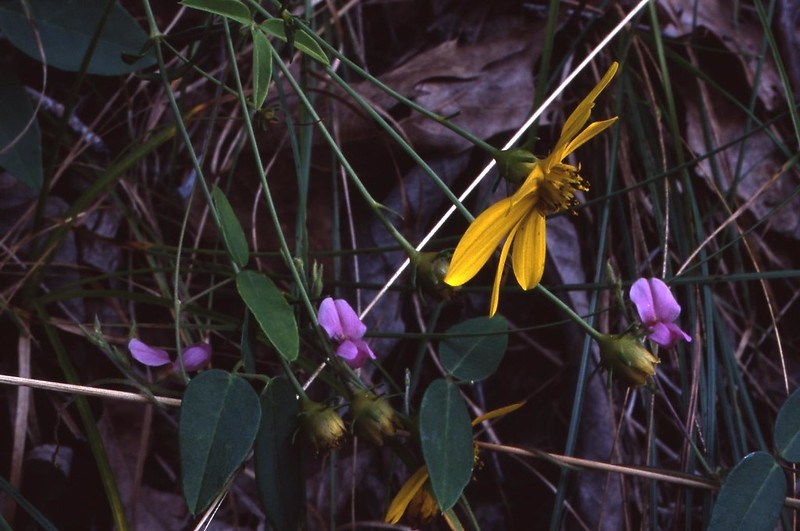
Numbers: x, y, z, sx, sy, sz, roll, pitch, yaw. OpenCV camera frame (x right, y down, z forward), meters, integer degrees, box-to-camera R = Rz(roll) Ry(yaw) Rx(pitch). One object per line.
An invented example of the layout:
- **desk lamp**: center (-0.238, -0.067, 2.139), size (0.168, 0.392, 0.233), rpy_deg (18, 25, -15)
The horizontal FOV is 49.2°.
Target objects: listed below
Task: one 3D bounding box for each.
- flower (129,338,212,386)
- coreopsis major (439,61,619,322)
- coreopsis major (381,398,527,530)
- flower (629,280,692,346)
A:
- **flower**: center (-0.635, 0.253, 2.415), size (0.140, 0.077, 0.138), rpy_deg (-1, 3, 26)
- **coreopsis major**: center (0.389, -0.218, 2.330), size (0.327, 0.657, 0.515), rpy_deg (12, 11, 31)
- **coreopsis major**: center (0.133, 0.558, 2.490), size (0.313, 0.494, 0.307), rpy_deg (7, 9, -1)
- **flower**: center (0.710, 0.129, 2.401), size (0.144, 0.172, 0.118), rpy_deg (3, 10, -23)
